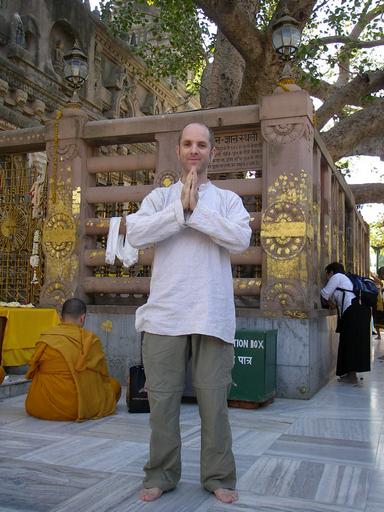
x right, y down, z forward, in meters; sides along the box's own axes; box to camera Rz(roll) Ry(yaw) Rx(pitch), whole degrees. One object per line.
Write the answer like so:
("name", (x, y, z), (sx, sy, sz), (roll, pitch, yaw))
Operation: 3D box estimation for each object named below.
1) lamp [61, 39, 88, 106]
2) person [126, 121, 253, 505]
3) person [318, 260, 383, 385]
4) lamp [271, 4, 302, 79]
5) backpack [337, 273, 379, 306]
("lamp", (-1.638, -2.575, 6.717), (0.348, 0.907, 0.340), (2, -6, -27))
("person", (-0.007, 0.260, 2.439), (0.548, 1.847, 0.540), (-5, -9, 36))
("person", (2.184, 0.910, 6.597), (0.782, 1.704, 0.572), (-1, -8, 12))
("lamp", (1.281, -2.905, 6.427), (0.356, 1.098, 0.347), (0, -4, -6))
("backpack", (2.308, 0.458, 6.663), (0.558, 0.539, 0.441), (0, -28, 21))
